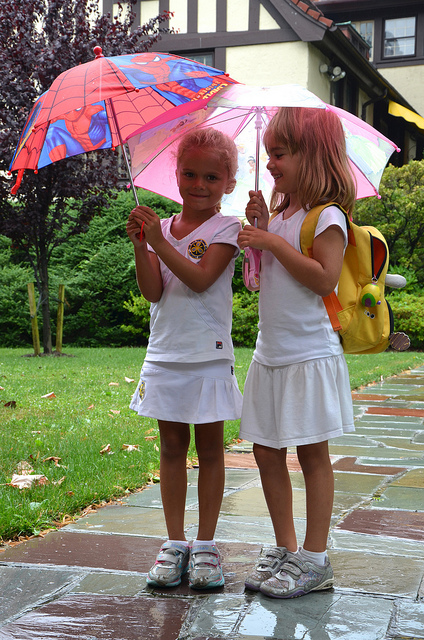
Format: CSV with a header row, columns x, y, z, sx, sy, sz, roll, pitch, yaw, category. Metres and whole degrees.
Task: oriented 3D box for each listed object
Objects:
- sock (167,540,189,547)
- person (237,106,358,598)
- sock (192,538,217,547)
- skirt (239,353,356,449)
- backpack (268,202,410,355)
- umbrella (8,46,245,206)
x,y,z,sx,sy,sz,roll,pitch,yaw,category
-0.111,0.724,1.886,0.065,0.021,0.037,3,-3,-12,sock
0.287,0.070,1.932,0.383,1.513,0.647,2,-3,16,person
-0.028,0.719,1.879,0.072,0.029,0.073,3,-3,-3,sock
0.259,0.227,1.845,0.295,0.332,0.421,3,-6,-44,skirt
0.460,-0.122,1.901,0.366,0.427,0.309,4,4,1,backpack
-0.363,-0.665,1.831,0.729,0.329,0.457,1,-4,35,umbrella
